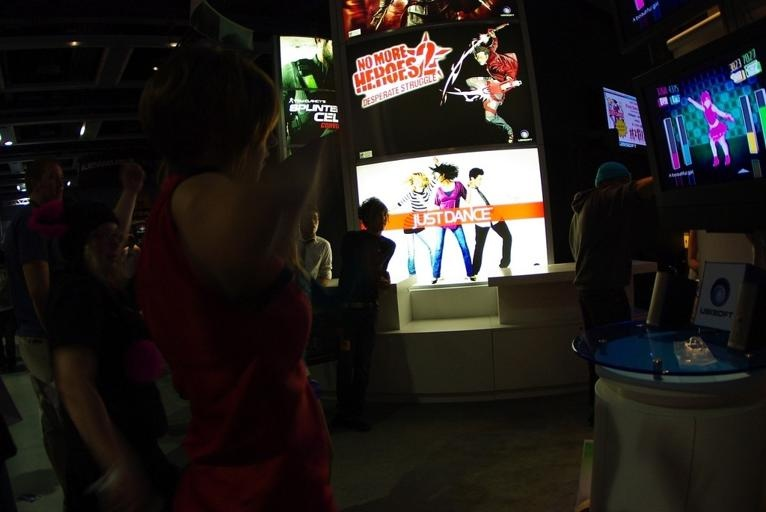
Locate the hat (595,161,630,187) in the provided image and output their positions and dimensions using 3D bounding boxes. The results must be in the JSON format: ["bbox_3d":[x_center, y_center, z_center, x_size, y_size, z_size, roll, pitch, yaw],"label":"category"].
[{"bbox_3d":[1.708,-0.604,3.869,0.200,0.135,0.201,-6,6,-25],"label":"hat"}]
